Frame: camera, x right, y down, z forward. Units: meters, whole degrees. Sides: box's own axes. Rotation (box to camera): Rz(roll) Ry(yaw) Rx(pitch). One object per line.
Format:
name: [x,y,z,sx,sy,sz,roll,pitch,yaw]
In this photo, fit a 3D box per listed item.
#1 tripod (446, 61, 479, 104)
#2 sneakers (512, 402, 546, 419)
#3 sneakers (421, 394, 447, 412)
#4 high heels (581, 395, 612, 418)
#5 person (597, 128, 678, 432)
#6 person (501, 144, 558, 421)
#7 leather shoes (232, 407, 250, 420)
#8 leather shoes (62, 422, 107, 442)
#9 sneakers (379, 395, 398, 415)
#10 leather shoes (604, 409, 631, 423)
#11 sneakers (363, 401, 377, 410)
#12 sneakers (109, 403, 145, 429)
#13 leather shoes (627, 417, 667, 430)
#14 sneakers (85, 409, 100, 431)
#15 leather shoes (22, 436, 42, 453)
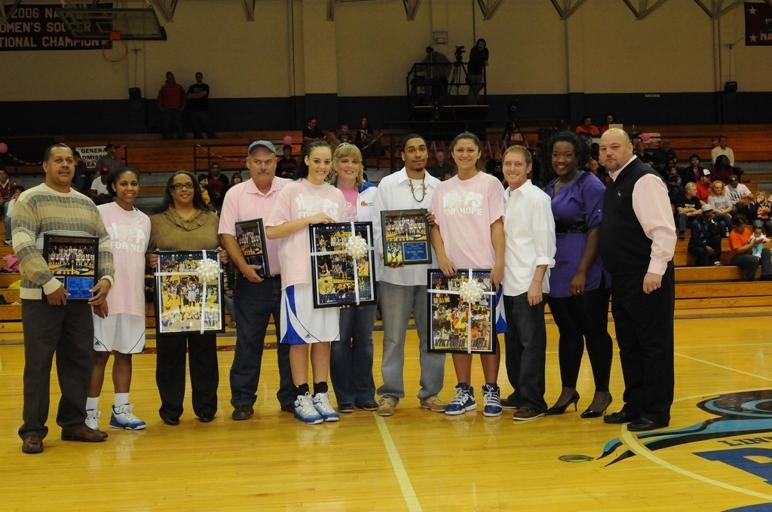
tripod: [1.874,-4.323,21.747,0.940,1.185,0.827,-9,24,-5]
sneakers: [1.519,1.687,9.456,0.387,0.152,0.139,5,-4,-21]
sneakers: [0.509,1.668,9.798,0.128,0.141,0.339,3,-6,-42]
high heels: [2.308,1.635,9.535,0.471,0.231,0.156,-9,9,-33]
person: [2.630,0.230,9.206,0.777,3.142,0.550,0,6,24]
person: [1.540,0.277,9.536,0.582,2.955,0.561,-2,6,1]
leather shoes: [-1.619,1.739,9.672,0.226,0.143,0.136,-3,6,-11]
leather shoes: [-3.230,1.880,9.306,0.508,0.205,0.184,0,-1,-1]
sneakers: [-0.001,1.666,9.666,0.222,0.194,0.168,-2,6,0]
leather shoes: [2.482,1.724,9.394,0.249,0.104,0.129,3,-2,4]
sneakers: [-0.191,1.696,9.823,0.073,0.066,0.155,2,-10,-24]
sneakers: [-2.851,1.765,9.585,0.538,0.283,0.185,1,-1,20]
leather shoes: [2.715,1.764,9.116,0.422,0.132,0.156,3,-6,-7]
sneakers: [-3.180,1.750,9.371,0.139,0.214,0.215,2,-14,-16]
leather shoes: [-3.683,1.953,9.035,0.211,0.165,0.168,-5,7,-28]
